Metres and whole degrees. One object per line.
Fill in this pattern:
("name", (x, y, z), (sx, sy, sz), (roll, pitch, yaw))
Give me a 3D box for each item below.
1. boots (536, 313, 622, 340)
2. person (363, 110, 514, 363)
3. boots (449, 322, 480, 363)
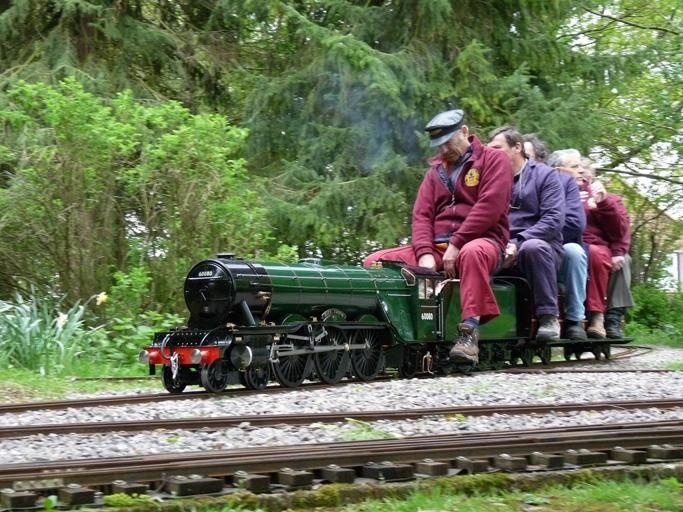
("boots", (3.490, 1.107, 10.457), (0.533, 0.506, 1.763), (-9, -14, 43))
("person", (1.412, -0.232, 8.795), (1.021, 3.085, 1.261), (0, -5, -27))
("boots", (1.409, 1.021, 8.205), (0.323, 0.476, 0.363), (-3, -4, 12))
